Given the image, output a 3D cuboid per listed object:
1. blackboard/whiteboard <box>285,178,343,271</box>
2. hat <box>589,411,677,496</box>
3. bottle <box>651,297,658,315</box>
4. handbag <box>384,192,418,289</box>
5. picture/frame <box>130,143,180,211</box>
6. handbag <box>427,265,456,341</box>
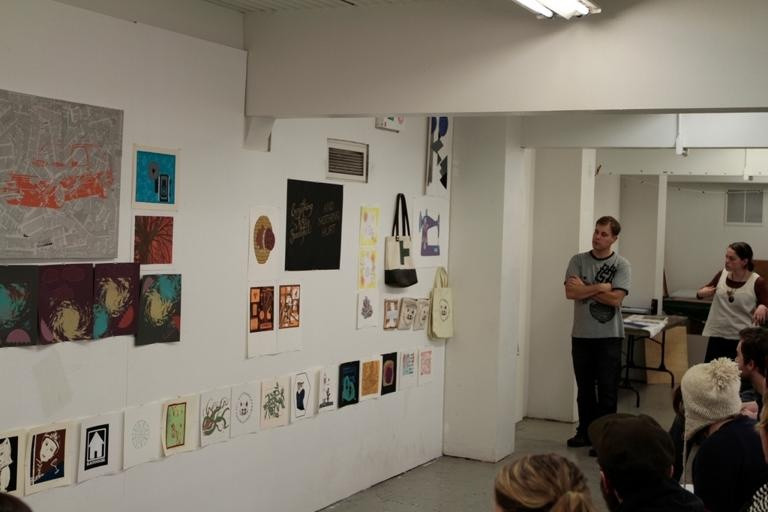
[{"bbox_3d":[-0.622,-0.272,4.784,0.035,0.892,0.779,3,2,36],"label":"blackboard/whiteboard"},{"bbox_3d":[1.089,0.855,2.491,0.347,0.306,0.236,1,5,20],"label":"hat"},{"bbox_3d":[4.550,0.832,9.509,0.125,0.217,0.334,1,6,26],"label":"bottle"},{"bbox_3d":[0.161,-0.148,5.544,0.368,0.917,0.133,-5,6,-44],"label":"handbag"},{"bbox_3d":[-1.567,-0.531,3.806,0.025,0.537,0.453,1,2,36],"label":"picture/frame"},{"bbox_3d":[0.598,0.488,6.019,0.274,0.732,0.146,-5,6,-44],"label":"handbag"}]
